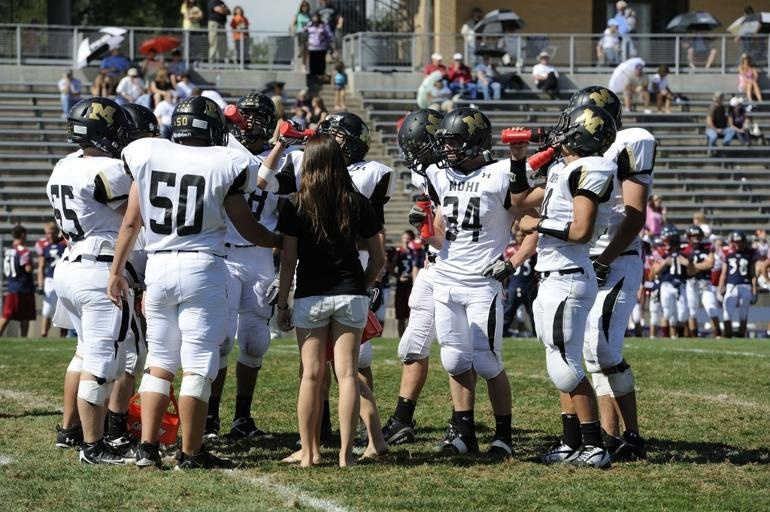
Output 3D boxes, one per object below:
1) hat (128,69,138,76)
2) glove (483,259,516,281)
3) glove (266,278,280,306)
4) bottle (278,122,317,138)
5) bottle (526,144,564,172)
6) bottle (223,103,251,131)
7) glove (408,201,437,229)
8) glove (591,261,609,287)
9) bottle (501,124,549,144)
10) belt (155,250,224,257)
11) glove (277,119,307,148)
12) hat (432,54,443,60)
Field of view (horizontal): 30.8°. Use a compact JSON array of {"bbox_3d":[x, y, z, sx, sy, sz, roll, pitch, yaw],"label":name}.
[{"bbox_3d":[-5.567,-4.076,30.961,0.179,0.197,0.360,-1,3,-14],"label":"hat"},{"bbox_3d":[1.562,0.172,18.896,0.434,0.298,0.210,0,3,9],"label":"glove"},{"bbox_3d":[-1.551,0.485,19.520,0.121,0.313,0.248,19,8,13],"label":"glove"},{"bbox_3d":[-1.184,-1.630,18.691,0.414,0.175,0.232,13,33,-19],"label":"bottle"},{"bbox_3d":[2.139,-1.320,18.821,0.475,0.338,0.363,-1,3,-9],"label":"bottle"},{"bbox_3d":[-1.995,-1.850,19.007,0.168,0.229,0.586,-10,-16,5],"label":"bottle"},{"bbox_3d":[0.518,-0.592,18.739,0.351,0.344,0.261,-1,3,-16],"label":"glove"},{"bbox_3d":[2.915,0.222,18.778,0.241,0.347,0.126,0,3,2],"label":"glove"},{"bbox_3d":[1.848,-1.637,18.609,0.645,0.241,0.254,1,1,-1],"label":"bottle"},{"bbox_3d":[-2.562,-0.044,18.386,0.893,0.099,0.217,-1,3,-15],"label":"belt"},{"bbox_3d":[-1.196,-1.631,18.699,0.431,0.239,0.183,8,-5,-31],"label":"glove"},{"bbox_3d":[1.239,-4.673,32.675,0.214,0.110,0.325,8,10,-4],"label":"hat"}]
